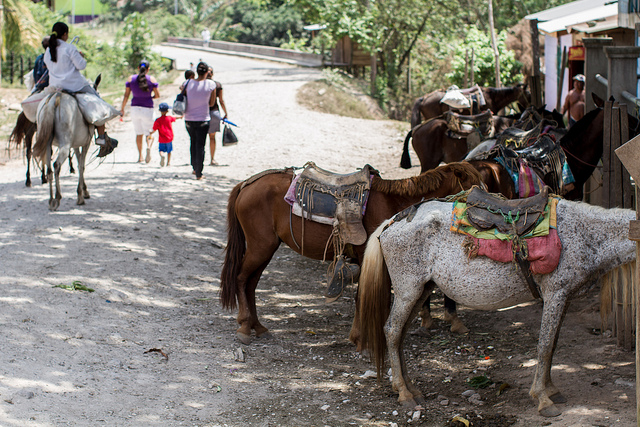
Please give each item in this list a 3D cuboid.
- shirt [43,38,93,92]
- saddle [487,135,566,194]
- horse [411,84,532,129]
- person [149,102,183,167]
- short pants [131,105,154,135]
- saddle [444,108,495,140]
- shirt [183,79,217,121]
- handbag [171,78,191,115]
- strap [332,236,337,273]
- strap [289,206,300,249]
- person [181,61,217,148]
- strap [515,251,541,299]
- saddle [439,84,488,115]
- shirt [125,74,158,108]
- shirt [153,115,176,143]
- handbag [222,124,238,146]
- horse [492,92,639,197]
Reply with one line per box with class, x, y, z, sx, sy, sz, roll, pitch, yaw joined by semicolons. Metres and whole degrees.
shirt;-4.387;-2.577;14.128;0.866;1.047;0.855;8;26;23
saddle;3.137;-0.808;11.891;1.150;0.589;0.690;-13;27;-31
horse;3.434;-2.123;18.027;2.783;1.471;0.679;0;17;14
person;-3.437;-1.813;17.881;0.693;1.436;0.955;19;26;37
short pants;-3.991;-2.110;17.866;0.482;0.683;0.384;-4;10;-14
saddle;2.846;-1.610;15.013;0.687;0.340;0.769;1;2;3
shirt;-2.485;-2.346;16.397;0.655;0.847;0.340;-4;10;-17
handbag;-2.832;-2.381;16.227;0.396;0.708;0.690;-3;10;-9
strap;0.209;0.522;10.976;0.051;0.424;0.059;7;1;34
strap;-0.359;0.158;11.039;0.066;0.592;0.083;-4;4;4
person;-2.496;-2.245;16.484;0.528;1.763;0.740;6;12;37
strap;2.567;0.767;9.830;0.171;0.808;0.114;-29;16;-20
saddle;3.253;-2.424;16.866;1.398;0.706;0.447;-11;28;-25
shirt;-3.927;-2.697;17.502;0.636;0.734;0.610;-4;10;-14
shirt;-3.457;-1.884;17.608;0.470;0.617;0.372;-3;10;-10
handbag;-1.932;-1.674;16.837;0.292;0.445;0.286;-6;11;-28
horse;3.634;-1.007;12.136;1.091;1.557;1.995;5;12;31
